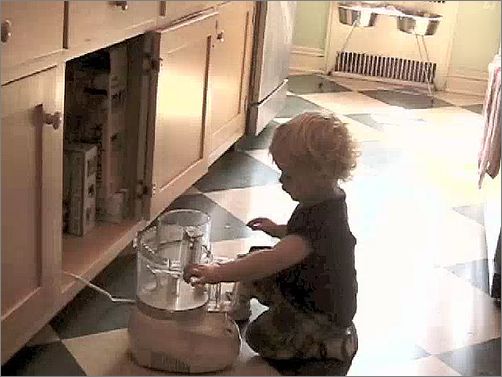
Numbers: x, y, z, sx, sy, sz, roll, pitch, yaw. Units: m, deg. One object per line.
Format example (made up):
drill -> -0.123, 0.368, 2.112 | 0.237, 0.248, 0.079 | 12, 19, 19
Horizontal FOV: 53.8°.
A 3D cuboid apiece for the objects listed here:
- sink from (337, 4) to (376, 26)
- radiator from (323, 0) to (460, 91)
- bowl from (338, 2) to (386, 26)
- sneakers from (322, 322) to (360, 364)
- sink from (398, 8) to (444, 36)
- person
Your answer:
sink -> 0.797, -1.286, 3.707 | 0.207, 0.082, 0.168 | -1, 38, -16
radiator -> 1.121, -1.116, 3.826 | 0.650, 0.625, 0.221 | 7, 24, 11
bowl -> 0.805, -1.293, 3.708 | 0.241, 0.090, 0.196 | -5, 31, -17
sneakers -> 0.204, 0.375, 1.241 | 0.129, 0.064, 0.166 | 4, -8, 7
sink -> 1.215, -1.175, 3.579 | 0.238, 0.090, 0.214 | 3, 10, 10
person -> 0.073, 0.026, 1.402 | 0.501, 0.769, 0.556 | 7, 16, 20
